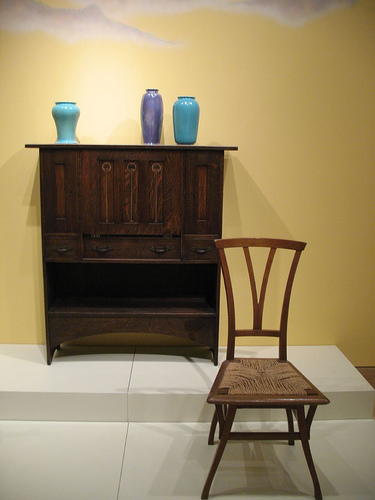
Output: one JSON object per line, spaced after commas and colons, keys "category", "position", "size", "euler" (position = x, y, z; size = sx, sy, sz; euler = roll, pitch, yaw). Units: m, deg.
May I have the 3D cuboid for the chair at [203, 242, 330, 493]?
{"category": "chair", "position": [0.352, 0.359, 2.001], "size": [0.434, 0.882, 1.252], "euler": [2, 14, 7]}

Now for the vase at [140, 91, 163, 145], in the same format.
{"category": "vase", "position": [-0.182, -0.677, 2.213], "size": [0.142, 0.271, 0.159], "euler": [-4, 30, -9]}

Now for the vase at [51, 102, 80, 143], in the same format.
{"category": "vase", "position": [-0.607, -0.624, 2.189], "size": [0.123, 0.226, 0.144], "euler": [-6, -2, 9]}

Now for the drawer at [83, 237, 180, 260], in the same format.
{"category": "drawer", "position": [-0.282, -0.009, 2.203], "size": [0.484, 0.102, 0.035], "euler": [1, 12, 1]}

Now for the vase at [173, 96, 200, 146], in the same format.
{"category": "vase", "position": [-0.009, -0.641, 2.173], "size": [0.125, 0.231, 0.070], "euler": [0, 12, -3]}
